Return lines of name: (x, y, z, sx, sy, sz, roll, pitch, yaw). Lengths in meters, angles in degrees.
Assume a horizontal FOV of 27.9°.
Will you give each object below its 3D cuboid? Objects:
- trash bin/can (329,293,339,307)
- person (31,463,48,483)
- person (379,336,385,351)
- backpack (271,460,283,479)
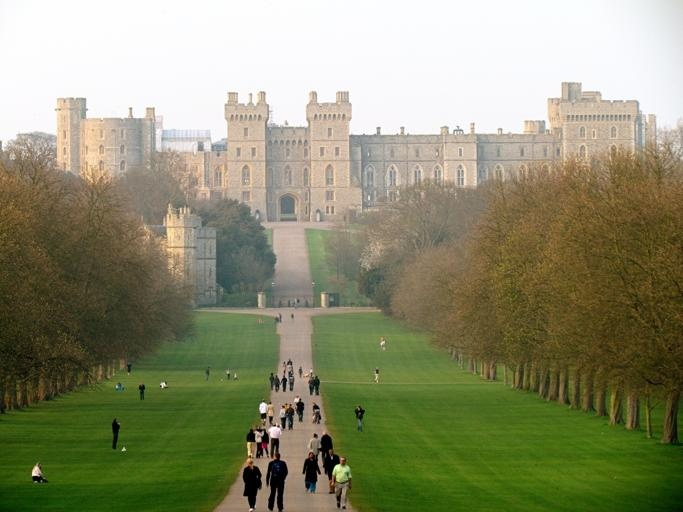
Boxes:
trash bin/can: (-0.785, 4.130, 130.582, 0.527, 1.260, 1.512, 0, 0, 19)
person: (-10.961, 7.950, 50.049, 0.520, 0.713, 0.643, 0, 0, -14)
person: (2.825, 6.254, 97.143, 0.576, 1.372, 0.513, 1, 41, 3)
backpack: (-2.163, 7.230, 46.136, 0.522, 0.695, 0.378, 1, 6, 8)
